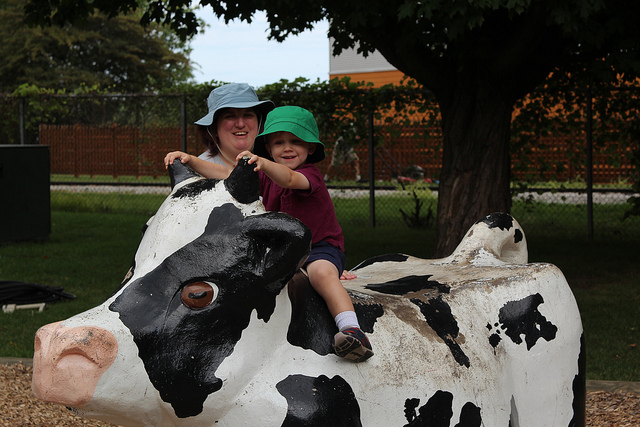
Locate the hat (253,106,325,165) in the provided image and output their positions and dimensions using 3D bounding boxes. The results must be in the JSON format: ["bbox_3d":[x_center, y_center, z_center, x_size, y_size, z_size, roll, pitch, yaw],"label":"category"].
[{"bbox_3d":[-0.304,-0.742,7.437,0.657,0.421,0.591,-14,-20,43],"label":"hat"}]

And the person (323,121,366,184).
[{"bbox_3d":[0.470,-1.098,15.482,0.800,1.114,0.337,2,14,5],"label":"person"}]

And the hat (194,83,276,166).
[{"bbox_3d":[-0.807,-0.973,7.882,0.657,0.483,0.837,-9,-4,-24],"label":"hat"}]
